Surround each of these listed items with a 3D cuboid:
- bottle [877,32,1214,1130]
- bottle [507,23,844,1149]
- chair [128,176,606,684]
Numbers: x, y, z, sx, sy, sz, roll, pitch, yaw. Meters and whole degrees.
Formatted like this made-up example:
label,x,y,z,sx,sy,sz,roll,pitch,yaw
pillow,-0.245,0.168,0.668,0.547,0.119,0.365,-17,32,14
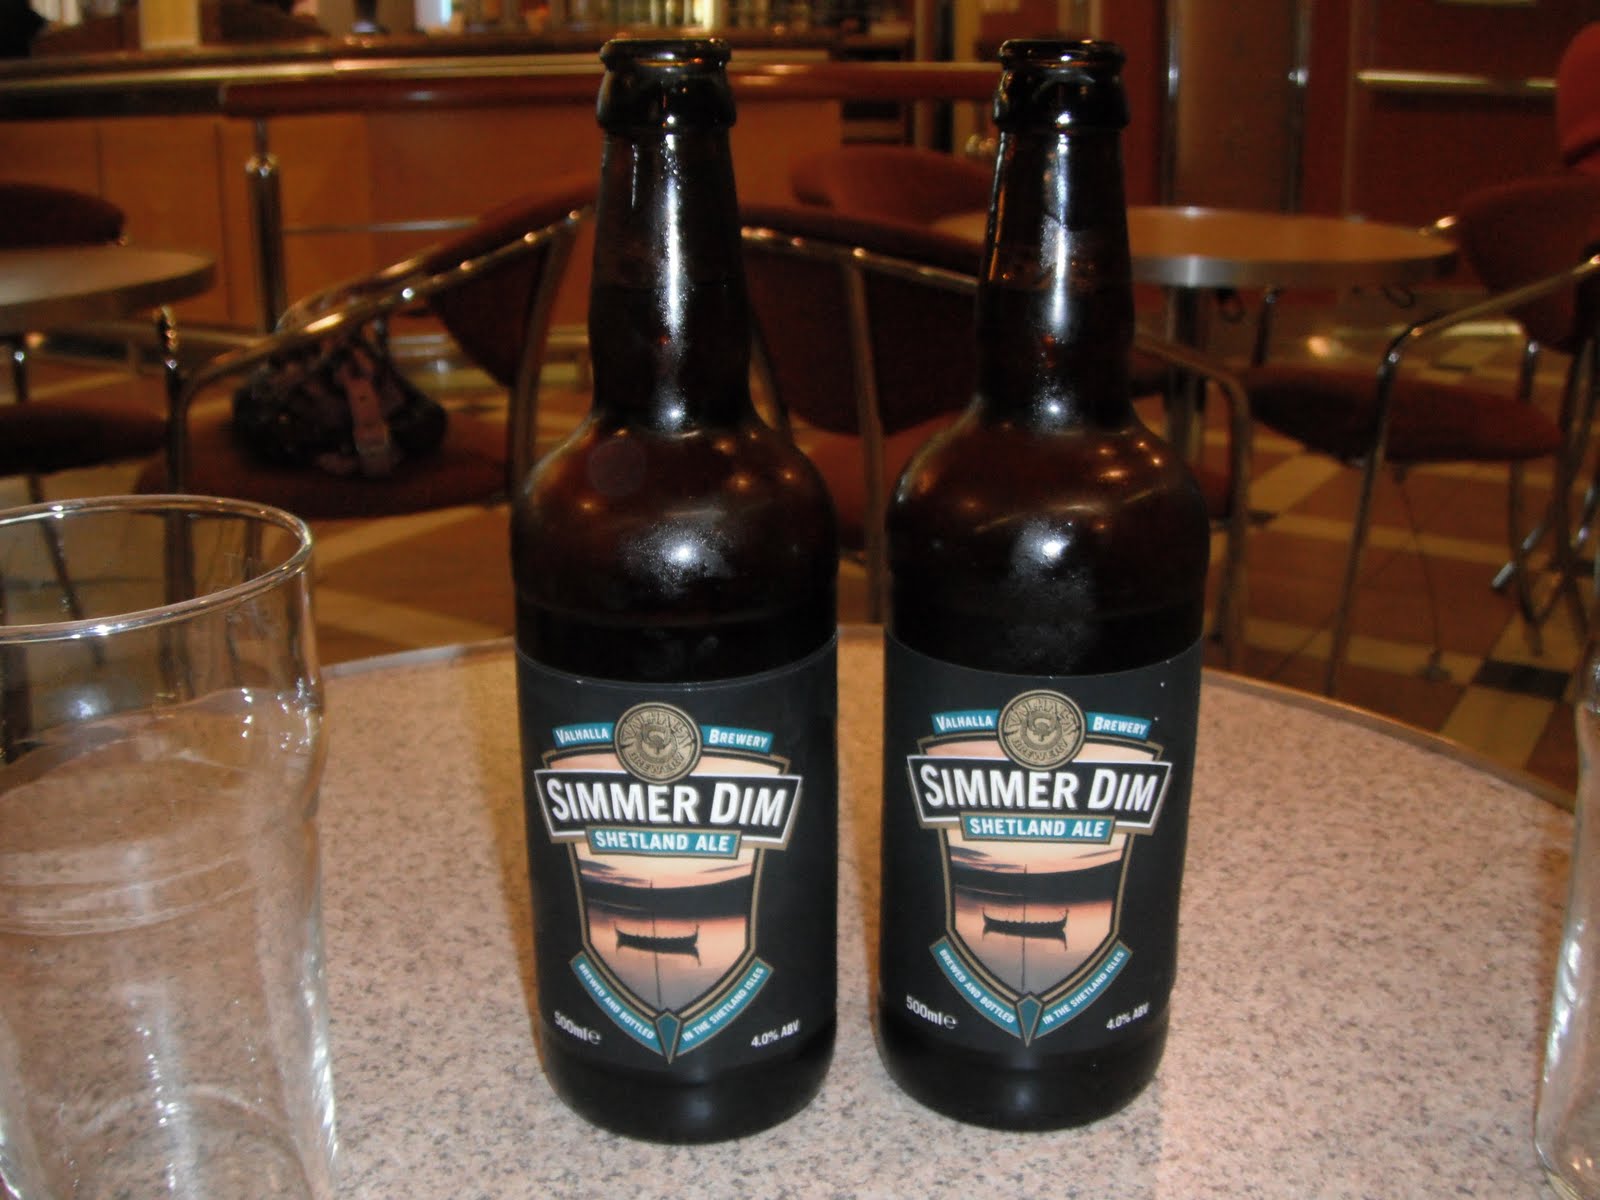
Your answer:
label,x,y,z,sx,sy,sz,roll,pitch,yaw
bottle,0.093,-0.001,0.557,0.120,0.393,0.141,4,23,10
bottle,-0.047,0.001,0.556,0.125,0.398,0.141,-2,23,-4
chair,-0.565,-0.213,2.087,0.634,0.751,0.575,-2,11,-15
